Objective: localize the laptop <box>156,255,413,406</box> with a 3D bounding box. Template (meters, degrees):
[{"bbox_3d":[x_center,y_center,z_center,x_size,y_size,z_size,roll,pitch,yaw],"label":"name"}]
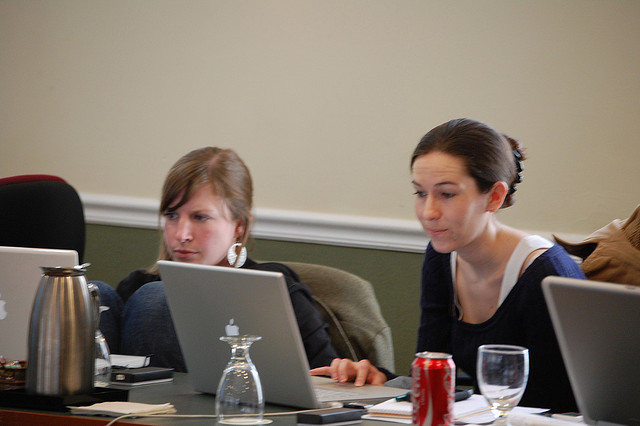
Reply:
[{"bbox_3d":[-0.107,0.326,1.475,0.477,0.327,0.526,-2,-8,38],"label":"laptop"}]

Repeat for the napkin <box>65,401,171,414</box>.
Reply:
[{"bbox_3d":[-0.485,0.462,1.252,0.215,0.022,0.094,-8,-20,22],"label":"napkin"}]

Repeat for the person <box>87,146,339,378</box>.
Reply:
[{"bbox_3d":[-0.397,0.123,2.048,0.784,0.975,0.689,12,19,7],"label":"person"}]

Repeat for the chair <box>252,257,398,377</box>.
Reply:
[{"bbox_3d":[0.111,0.403,2.234,0.586,0.637,0.522,0,-3,11],"label":"chair"}]

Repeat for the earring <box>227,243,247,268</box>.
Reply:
[{"bbox_3d":[-0.343,0.175,2.139,0.085,0.087,0.018,11,-3,-24],"label":"earring"}]

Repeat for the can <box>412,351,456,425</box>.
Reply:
[{"bbox_3d":[0.230,0.365,1.125,0.086,0.147,0.091,1,-10,0],"label":"can"}]
